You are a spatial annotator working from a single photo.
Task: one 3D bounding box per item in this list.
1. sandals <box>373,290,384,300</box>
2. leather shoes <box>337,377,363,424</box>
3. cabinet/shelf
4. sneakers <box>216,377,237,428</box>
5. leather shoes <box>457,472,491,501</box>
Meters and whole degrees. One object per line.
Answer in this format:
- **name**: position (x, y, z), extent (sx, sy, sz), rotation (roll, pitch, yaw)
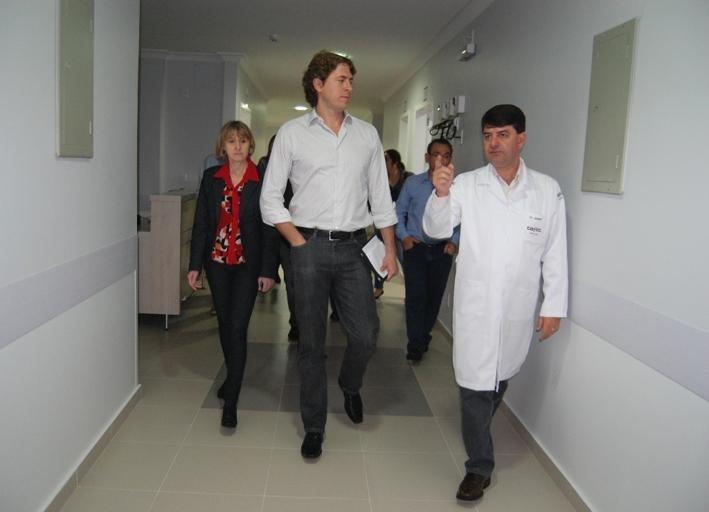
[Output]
- **sandals**: position (0.317, 0.497, 6.087), extent (0.129, 0.103, 0.370), rotation (-3, -16, 1)
- **leather shoes**: position (-0.018, 0.929, 3.182), extent (0.110, 0.240, 0.336), rotation (-10, 45, -21)
- **cabinet/shelf**: position (-1.800, 0.064, 4.512), extent (0.418, 1.289, 1.335), rotation (2, 5, 1)
- **sneakers**: position (-0.892, 1.008, 3.197), extent (0.122, 0.183, 0.412), rotation (1, 4, -7)
- **leather shoes**: position (0.640, 1.235, 2.498), extent (0.098, 0.105, 0.228), rotation (-5, -9, 34)
